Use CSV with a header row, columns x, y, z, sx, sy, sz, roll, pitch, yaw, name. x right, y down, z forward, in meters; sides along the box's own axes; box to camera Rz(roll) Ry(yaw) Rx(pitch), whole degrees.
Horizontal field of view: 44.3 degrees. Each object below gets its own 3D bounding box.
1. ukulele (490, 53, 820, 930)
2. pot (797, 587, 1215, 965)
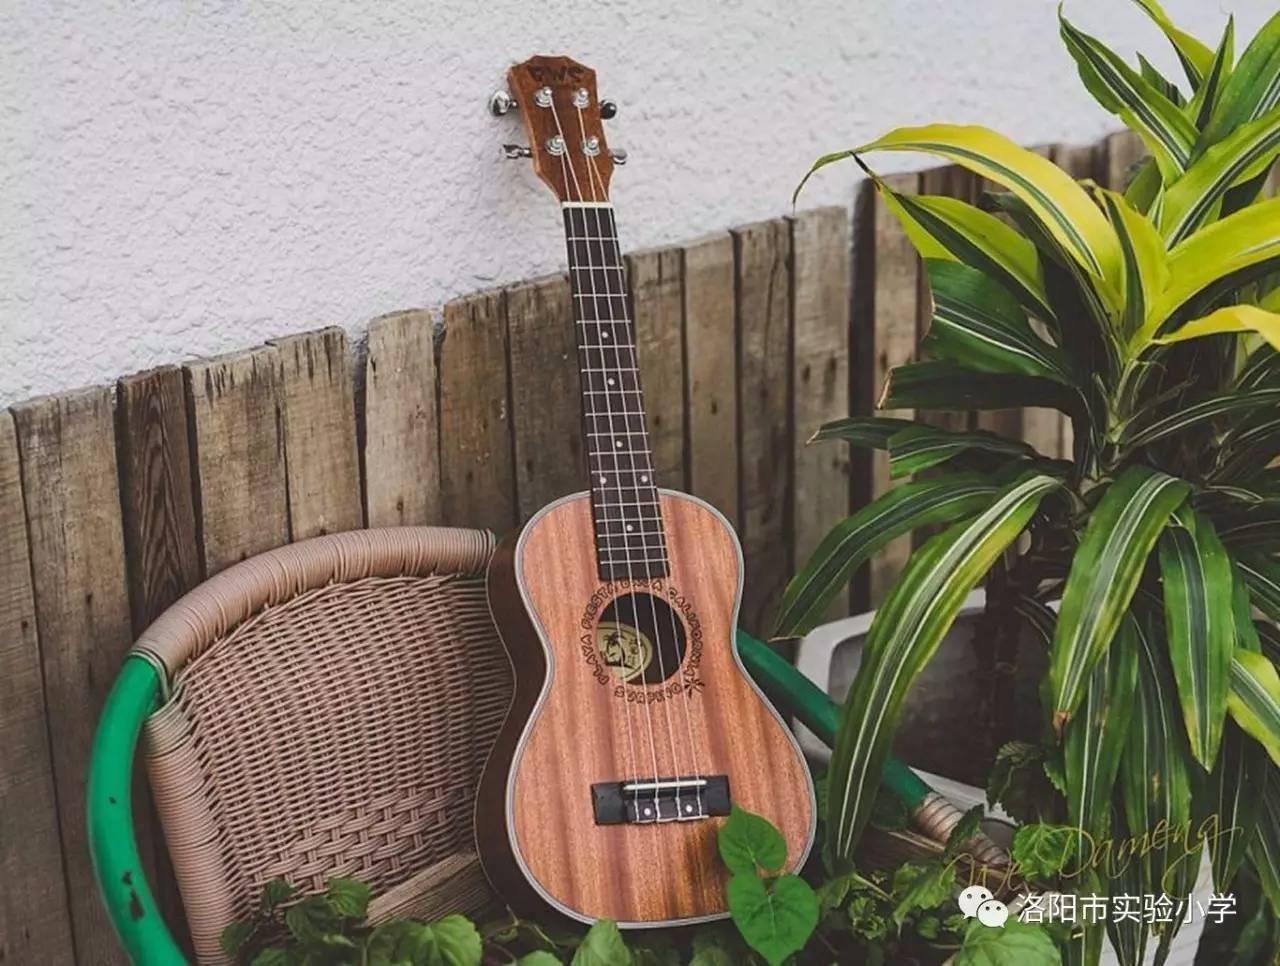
x,y,z,sx,sy,sz,roll,pitch,yaw,name
-0.018,-0.044,2.026,0.373,1.128,0.143,1,-18,-29,ukulele
0.474,0.379,2.226,0.407,0.406,0.603,-3,19,-10,pot
